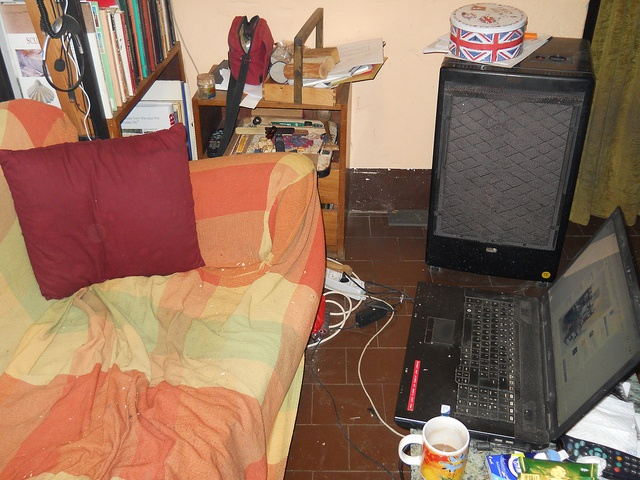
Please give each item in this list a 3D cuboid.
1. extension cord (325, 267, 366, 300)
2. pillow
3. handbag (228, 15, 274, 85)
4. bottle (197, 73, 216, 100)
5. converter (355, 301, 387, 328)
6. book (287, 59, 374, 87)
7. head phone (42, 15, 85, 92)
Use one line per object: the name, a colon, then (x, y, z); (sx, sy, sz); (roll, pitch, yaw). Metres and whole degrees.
extension cord: (0.108, 0.204, 2.390); (0.202, 0.082, 0.056); (22, 37, -2)
pillow: (-0.723, -0.086, 1.701); (0.447, 0.401, 0.203); (-17, 39, -17)
handbag: (-0.293, -0.801, 2.235); (0.144, 0.271, 0.216); (13, 31, 22)
bottle: (-0.481, -0.658, 2.294); (0.095, 0.108, 0.099); (-10, 39, -18)
converter: (0.225, 0.322, 2.278); (0.124, 0.070, 0.149); (12, 31, 18)
book: (0.084, -0.680, 2.177); (0.303, 0.090, 0.090); (3, 29, 3)
head phone: (-0.793, -0.570, 1.623); (0.124, 0.247, 0.153); (-12, 31, -22)
